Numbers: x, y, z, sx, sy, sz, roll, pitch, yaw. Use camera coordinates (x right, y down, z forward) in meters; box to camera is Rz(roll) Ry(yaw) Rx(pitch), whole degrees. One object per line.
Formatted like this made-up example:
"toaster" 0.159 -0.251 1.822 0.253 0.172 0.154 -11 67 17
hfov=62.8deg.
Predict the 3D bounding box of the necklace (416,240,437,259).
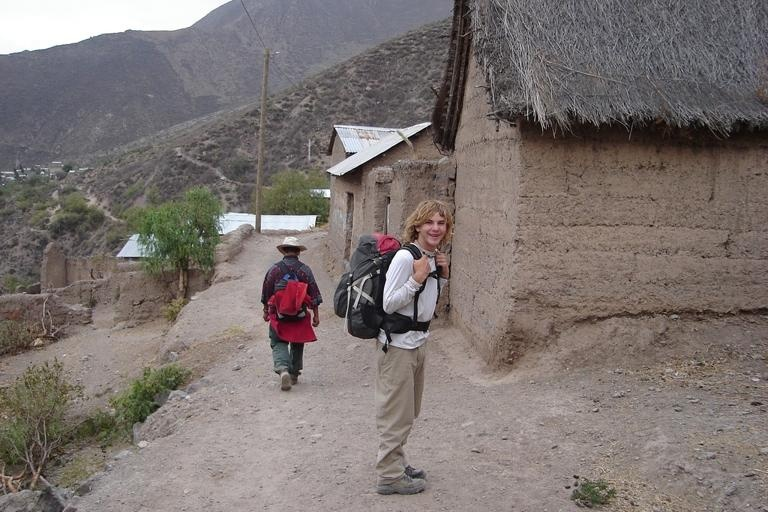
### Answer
"necklace" 0.455 -0.076 6.889 0.160 0.085 0.215 25 6 -31

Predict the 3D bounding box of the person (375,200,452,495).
"person" 0.294 1.019 6.890 0.831 3.213 0.382 -5 8 -32

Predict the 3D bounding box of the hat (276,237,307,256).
"hat" -1.995 -0.193 13.477 0.538 0.241 0.632 3 -28 2

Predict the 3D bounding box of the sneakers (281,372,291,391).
"sneakers" -1.459 1.842 9.340 0.156 0.299 0.220 -2 7 -9

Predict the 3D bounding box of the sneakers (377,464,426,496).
"sneakers" 0.184 2.482 6.920 0.467 0.233 0.299 -2 2 -4
